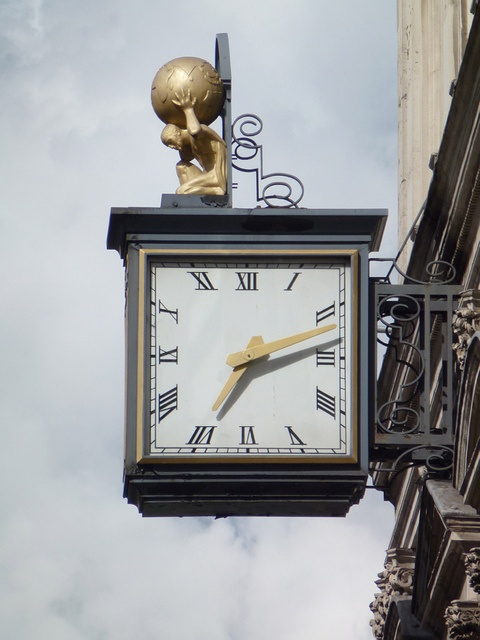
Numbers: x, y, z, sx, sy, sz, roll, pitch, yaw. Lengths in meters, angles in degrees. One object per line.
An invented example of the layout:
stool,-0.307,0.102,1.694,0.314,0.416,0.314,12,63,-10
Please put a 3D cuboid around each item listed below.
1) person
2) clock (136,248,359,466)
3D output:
person,-0.436,-1.455,22.427,0.427,1.021,0.446,-4,-18,-8
clock,0.025,0.282,21.275,1.912,2.462,0.196,1,-42,-1
